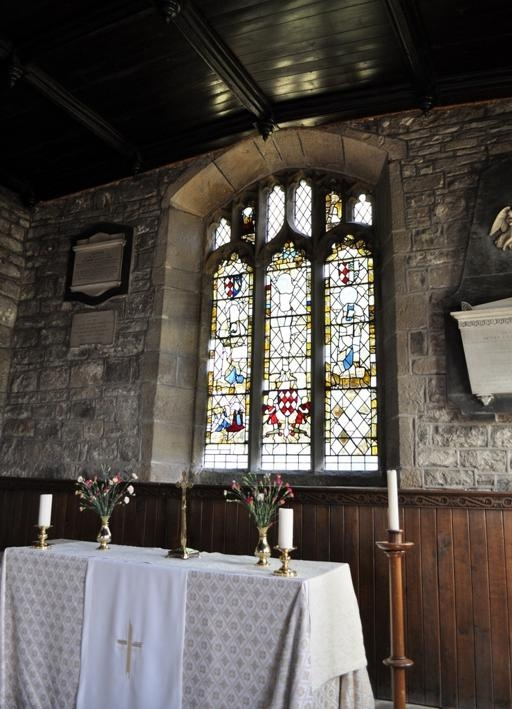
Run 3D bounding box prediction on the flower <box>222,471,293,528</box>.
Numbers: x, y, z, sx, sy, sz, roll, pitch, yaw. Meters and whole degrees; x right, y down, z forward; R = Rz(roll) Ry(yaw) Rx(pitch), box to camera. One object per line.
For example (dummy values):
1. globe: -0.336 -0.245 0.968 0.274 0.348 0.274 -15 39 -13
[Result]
1. flower: 0.015 0.807 3.258 0.451 0.314 0.445 6 -14 -21
